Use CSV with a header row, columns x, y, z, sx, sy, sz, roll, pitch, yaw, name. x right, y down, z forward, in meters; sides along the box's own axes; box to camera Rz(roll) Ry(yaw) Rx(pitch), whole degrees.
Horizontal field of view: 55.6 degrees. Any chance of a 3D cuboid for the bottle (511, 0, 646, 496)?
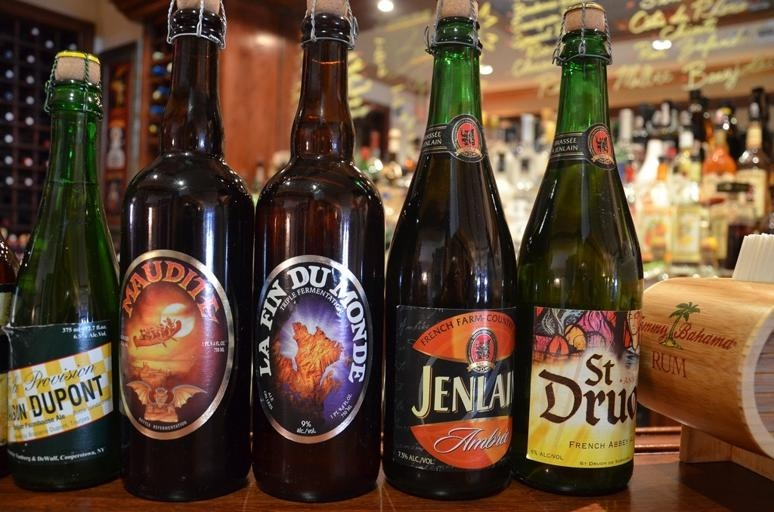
x,y,z,sx,sy,sz,roll,pitch,yaw,name
0.285,-0.016,1.087,0.193,0.703,0.157,-1,4,10,bottle
